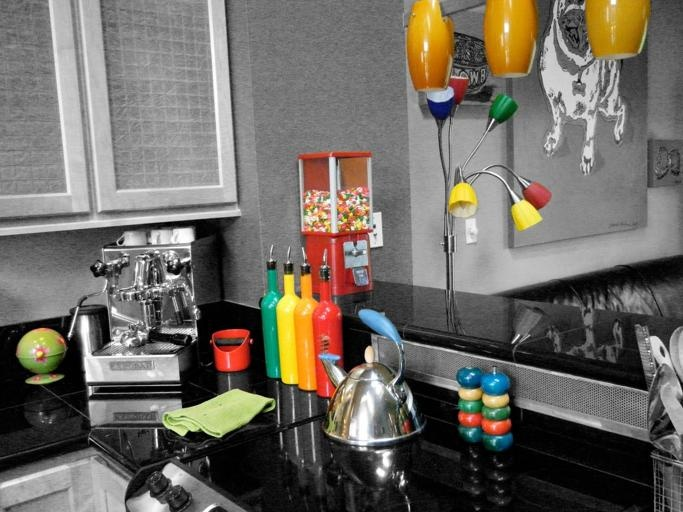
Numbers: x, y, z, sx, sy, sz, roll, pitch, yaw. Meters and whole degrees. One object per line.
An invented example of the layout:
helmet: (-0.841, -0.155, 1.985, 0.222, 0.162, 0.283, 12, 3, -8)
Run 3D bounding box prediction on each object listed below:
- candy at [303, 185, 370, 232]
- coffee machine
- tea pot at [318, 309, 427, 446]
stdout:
candy: (-0.017, -0.165, 1.965, 0.261, 0.166, 0.133, -4, 12, 3)
coffee machine: (-0.636, 0.175, 1.931, 0.472, 0.537, 0.347, 1, 12, 2)
tea pot: (0.059, 0.292, 1.376, 0.312, 0.289, 0.252, -1, 6, 38)
